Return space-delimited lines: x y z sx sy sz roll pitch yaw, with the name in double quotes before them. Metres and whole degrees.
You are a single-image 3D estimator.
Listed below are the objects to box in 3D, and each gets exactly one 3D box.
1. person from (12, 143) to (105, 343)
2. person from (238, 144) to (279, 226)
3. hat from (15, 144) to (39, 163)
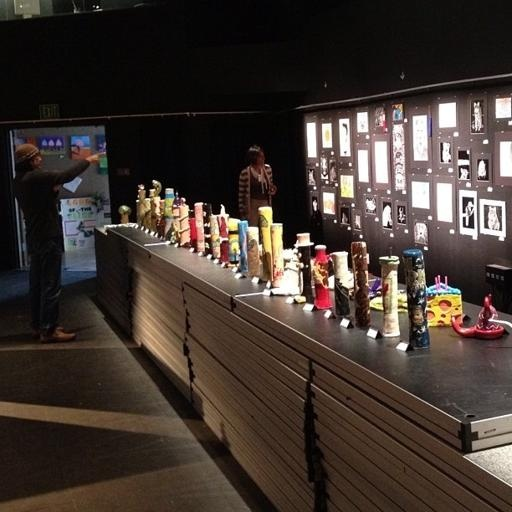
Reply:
"person" -2.433 -0.129 4.878 0.740 2.366 0.377 -1 7 14
"person" 0.006 -1.095 6.383 0.558 1.183 0.381 -3 7 1
"hat" -2.654 -1.204 4.777 0.223 0.242 0.307 -9 10 -37
